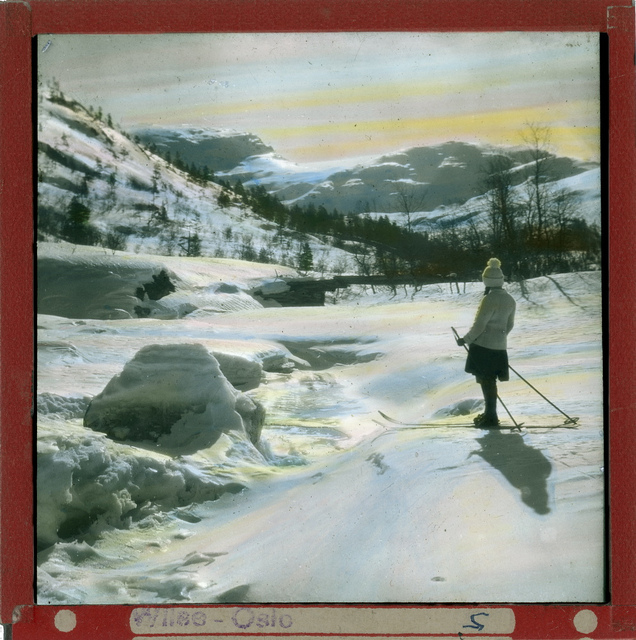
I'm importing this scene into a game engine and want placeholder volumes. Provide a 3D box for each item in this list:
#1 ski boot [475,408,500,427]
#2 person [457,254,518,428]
[{"bbox_3d":[0.958,0.556,5.895,0.152,0.111,0.081,1,-10,9],"label":"ski boot"},{"bbox_3d":[0.939,0.131,5.853,0.320,0.940,0.183,-2,4,5],"label":"person"}]
